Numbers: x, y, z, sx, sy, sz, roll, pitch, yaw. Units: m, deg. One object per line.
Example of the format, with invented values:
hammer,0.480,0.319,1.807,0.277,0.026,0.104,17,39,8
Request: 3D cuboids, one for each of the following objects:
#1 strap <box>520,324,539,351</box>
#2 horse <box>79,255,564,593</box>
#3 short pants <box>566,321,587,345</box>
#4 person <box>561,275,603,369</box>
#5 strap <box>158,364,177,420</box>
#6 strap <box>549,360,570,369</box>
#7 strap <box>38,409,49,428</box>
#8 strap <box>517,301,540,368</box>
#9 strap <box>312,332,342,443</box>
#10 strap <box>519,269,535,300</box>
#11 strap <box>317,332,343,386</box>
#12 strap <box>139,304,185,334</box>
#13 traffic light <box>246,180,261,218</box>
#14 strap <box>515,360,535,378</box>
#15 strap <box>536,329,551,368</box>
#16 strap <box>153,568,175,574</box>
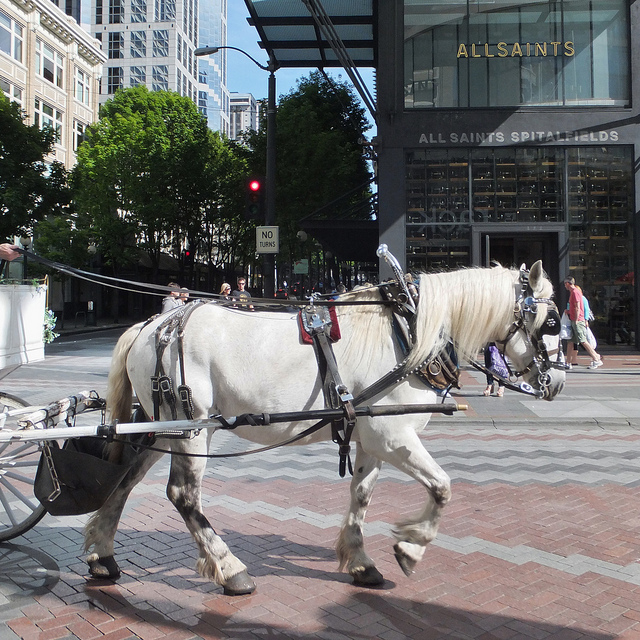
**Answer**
strap,1.493,0.142,6.264,0.052,0.164,0.125,-31,-2,-16
horse,-0.042,0.825,6.289,3.670,2.090,1.089,-3,-11,11
short pants,5.148,0.309,17.489,0.336,0.458,0.536,3,8,16
person,5.308,0.114,17.756,0.613,1.788,1.359,1,8,4
strap,-1.046,0.524,6.097,0.092,0.351,0.073,-15,3,34
strap,1.696,0.328,6.223,0.157,0.055,0.050,7,12,14
strap,-2.025,0.750,6.489,0.043,0.142,0.142,-2,9,-19
strap,1.490,0.098,6.247,0.042,0.479,0.077,-14,4,38
strap,0.074,0.479,5.939,0.223,0.688,0.104,-14,-8,8
strap,1.459,-0.236,6.296,0.091,0.165,0.132,-1,5,3
strap,0.046,0.256,6.039,0.085,0.466,0.064,-24,-24,-9
strap,-1.179,-0.027,6.514,0.368,0.073,0.017,-31,40,5
traffic light,-1.180,-2.157,15.718,0.239,0.651,0.144,0,8,-2
strap,1.476,0.372,6.316,0.121,0.035,0.088,-26,-6,25
strap,1.607,0.219,6.182,0.065,0.220,0.174,-20,-11,21
strap,-1.148,1.877,6.454,0.113,0.015,0.007,-17,1,-2
